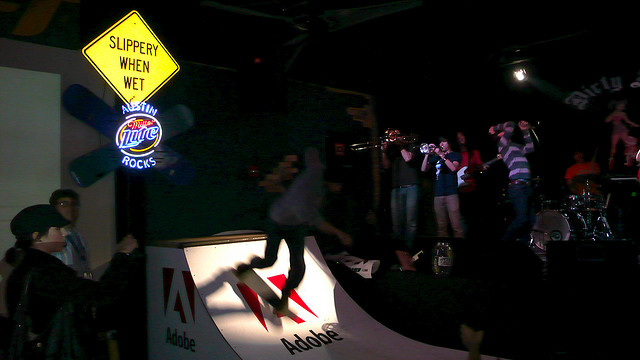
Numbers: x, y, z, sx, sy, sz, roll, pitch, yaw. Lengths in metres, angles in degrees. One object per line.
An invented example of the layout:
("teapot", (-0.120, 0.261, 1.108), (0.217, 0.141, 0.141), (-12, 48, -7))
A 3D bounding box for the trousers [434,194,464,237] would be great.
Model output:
("trousers", (2.290, 0.657, 9.463), (0.354, 0.757, 0.503), (-3, -11, -11))

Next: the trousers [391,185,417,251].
("trousers", (1.480, 0.560, 9.299), (0.196, 0.950, 0.537), (6, -15, -44))

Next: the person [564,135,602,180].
("person", (5.087, -0.495, 10.265), (0.635, 0.958, 1.067), (-10, -12, 26))

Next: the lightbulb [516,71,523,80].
("lightbulb", (3.971, -2.090, 10.444), (0.077, 0.137, 0.120), (4, -13, -37))

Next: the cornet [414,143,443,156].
("cornet", (2.017, -0.555, 9.743), (0.280, 0.242, 0.333), (-4, -10, 3))

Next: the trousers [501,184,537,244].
("trousers", (3.783, 0.618, 9.631), (0.563, 1.037, 1.031), (-15, -15, 42))

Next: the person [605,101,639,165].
("person", (5.662, -0.860, 9.863), (0.566, 1.145, 0.567), (-11, -13, 29))

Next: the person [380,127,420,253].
("person", (1.451, 0.166, 9.234), (0.591, 2.168, 1.275), (-6, -11, 6))

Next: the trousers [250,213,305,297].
("trousers", (-0.591, 1.094, 7.504), (0.773, 1.156, 0.608), (-3, -11, -6))
